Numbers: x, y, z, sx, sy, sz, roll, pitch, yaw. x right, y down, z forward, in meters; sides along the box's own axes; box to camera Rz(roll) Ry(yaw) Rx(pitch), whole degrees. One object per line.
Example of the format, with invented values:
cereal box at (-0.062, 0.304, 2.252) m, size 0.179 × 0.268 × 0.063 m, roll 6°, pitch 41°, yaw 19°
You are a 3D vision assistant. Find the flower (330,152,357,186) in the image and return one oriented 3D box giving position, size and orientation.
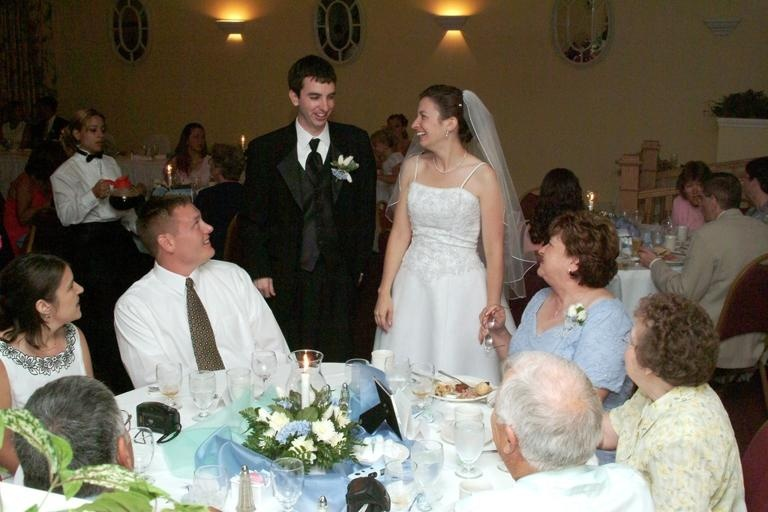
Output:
flower at (-0.225, -0.523, 3.732) m, size 0.180 × 0.163 × 0.091 m, roll 1°, pitch 1°, yaw -24°

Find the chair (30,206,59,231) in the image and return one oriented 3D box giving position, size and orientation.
chair at (-2.803, -0.296, 5.169) m, size 0.182 × 0.252 × 0.198 m, roll 0°, pitch 24°, yaw -13°

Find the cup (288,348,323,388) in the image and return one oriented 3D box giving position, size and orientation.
cup at (-0.307, 0.450, 2.488) m, size 0.146 × 0.162 × 0.150 m, roll 0°, pitch 1°, yaw 0°

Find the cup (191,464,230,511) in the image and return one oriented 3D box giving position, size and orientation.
cup at (-0.569, 0.766, 2.049) m, size 0.084 × 0.138 × 0.094 m, roll 2°, pitch 1°, yaw 34°

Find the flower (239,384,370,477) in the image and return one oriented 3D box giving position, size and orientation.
flower at (-0.306, 0.607, 2.192) m, size 0.276 × 0.127 × 0.274 m, roll 9°, pitch 0°, yaw -35°

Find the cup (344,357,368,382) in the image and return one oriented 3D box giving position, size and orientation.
cup at (-0.109, 0.455, 2.488) m, size 0.097 × 0.107 × 0.100 m, roll 0°, pitch -5°, yaw 0°

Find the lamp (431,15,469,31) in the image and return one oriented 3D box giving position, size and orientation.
lamp at (0.944, -3.195, 8.574) m, size 0.462 × 0.186 × 0.144 m, roll 1°, pitch 1°, yaw 7°

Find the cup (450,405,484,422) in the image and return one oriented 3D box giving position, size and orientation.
cup at (0.321, 0.591, 2.347) m, size 0.096 × 0.097 × 0.098 m, roll 0°, pitch -11°, yaw 0°

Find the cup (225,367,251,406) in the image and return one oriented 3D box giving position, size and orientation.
cup at (-0.561, 0.510, 2.466) m, size 0.111 × 0.186 × 0.112 m, roll -1°, pitch 5°, yaw 0°

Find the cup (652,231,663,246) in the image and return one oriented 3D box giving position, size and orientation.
cup at (2.288, -0.136, 5.212) m, size 0.109 × 0.111 × 0.115 m, roll -1°, pitch 3°, yaw 0°

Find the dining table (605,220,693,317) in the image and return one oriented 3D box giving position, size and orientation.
dining table at (1.838, 0.134, 4.640) m, size 0.870 × 0.227 × 0.890 m, roll -12°, pitch 28°, yaw 22°

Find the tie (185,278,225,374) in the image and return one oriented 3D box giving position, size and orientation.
tie at (-0.906, 0.349, 3.195) m, size 0.184 × 0.459 × 0.185 m, roll 0°, pitch 2°, yaw -41°

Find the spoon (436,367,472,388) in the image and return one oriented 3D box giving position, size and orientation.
spoon at (0.312, 0.568, 2.882) m, size 0.044 × 0.033 × 0.217 m, roll -20°, pitch 30°, yaw -24°

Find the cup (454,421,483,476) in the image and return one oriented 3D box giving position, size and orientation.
cup at (0.308, 0.689, 2.264) m, size 0.098 × 0.218 × 0.206 m, roll 1°, pitch 1°, yaw 10°

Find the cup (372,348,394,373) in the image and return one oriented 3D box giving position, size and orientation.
cup at (-0.005, 0.457, 2.704) m, size 0.093 × 0.085 × 0.061 m, roll 0°, pitch 5°, yaw -4°
